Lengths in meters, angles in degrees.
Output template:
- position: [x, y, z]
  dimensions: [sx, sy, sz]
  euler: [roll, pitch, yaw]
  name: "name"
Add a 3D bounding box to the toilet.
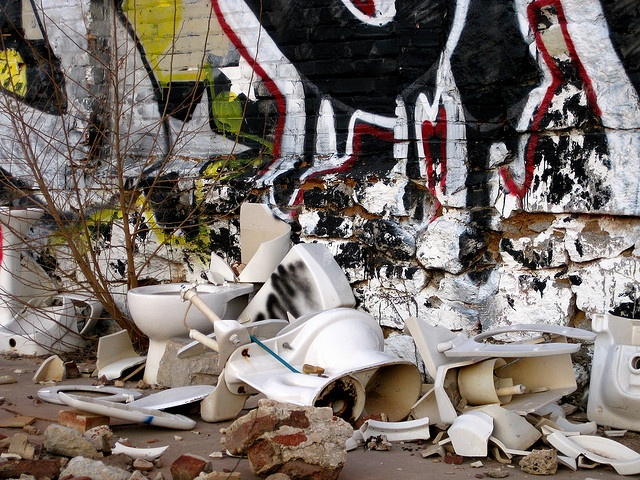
- position: [-0.721, 0.543, 3.742]
  dimensions: [0.830, 0.522, 0.505]
  euler: [0, 4, -27]
  name: "toilet"
